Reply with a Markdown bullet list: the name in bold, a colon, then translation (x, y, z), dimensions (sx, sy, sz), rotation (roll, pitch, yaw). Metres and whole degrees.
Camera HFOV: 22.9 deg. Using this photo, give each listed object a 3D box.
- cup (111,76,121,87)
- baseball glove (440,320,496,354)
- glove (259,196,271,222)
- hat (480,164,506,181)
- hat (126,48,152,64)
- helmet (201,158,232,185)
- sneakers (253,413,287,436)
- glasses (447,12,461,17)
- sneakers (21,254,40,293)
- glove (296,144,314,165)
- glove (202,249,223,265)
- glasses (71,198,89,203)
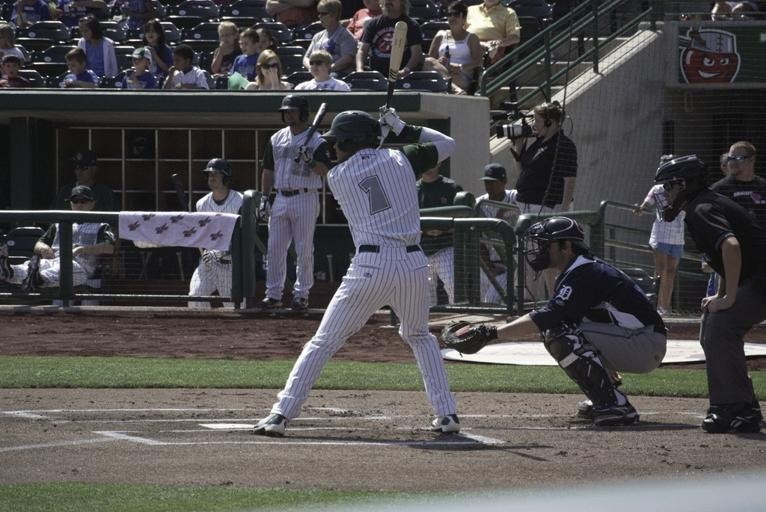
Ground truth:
- **cup**: translation (-4.401, -2.811, 30.592), dimensions (0.195, 0.192, 0.186), rotation (5, 31, -3)
- **baseball glove**: translation (0.982, 0.970, 22.073), dimensions (0.526, 0.172, 0.387), rotation (-29, 38, -20)
- **glove**: translation (-1.726, -0.671, 26.828), dimensions (0.143, 0.308, 0.252), rotation (7, 1, -7)
- **hat**: translation (1.617, -1.181, 26.880), dimensions (0.339, 0.153, 0.243), rotation (3, 1, -43)
- **hat**: translation (-3.893, -3.189, 30.013), dimensions (0.380, 0.177, 0.242), rotation (7, 0, -18)
- **helmet**: translation (-2.430, -1.243, 27.484), dimensions (0.422, 0.325, 0.496), rotation (10, 15, 37)
- **sneakers**: translation (-1.218, 1.922, 21.229), dimensions (0.504, 0.158, 0.200), rotation (-2, 37, 23)
- **glasses**: translation (1.067, -3.742, 29.161), dimensions (0.186, 0.068, 0.071), rotation (1, 2, 26)
- **sneakers**: translation (-5.064, 0.260, 26.956), dimensions (0.222, 0.520, 0.247), rotation (7, 10, 11)
- **glove**: translation (-1.164, -1.330, 25.723), dimensions (0.332, 0.108, 0.219), rotation (-19, 38, 24)
- **glove**: translation (-2.474, 0.034, 26.976), dimensions (0.268, 0.086, 0.221), rotation (13, -11, -41)
- **glasses**: translation (-4.464, -0.789, 27.483), dimensions (0.242, 0.078, 0.084), rotation (0, 2, -13)
